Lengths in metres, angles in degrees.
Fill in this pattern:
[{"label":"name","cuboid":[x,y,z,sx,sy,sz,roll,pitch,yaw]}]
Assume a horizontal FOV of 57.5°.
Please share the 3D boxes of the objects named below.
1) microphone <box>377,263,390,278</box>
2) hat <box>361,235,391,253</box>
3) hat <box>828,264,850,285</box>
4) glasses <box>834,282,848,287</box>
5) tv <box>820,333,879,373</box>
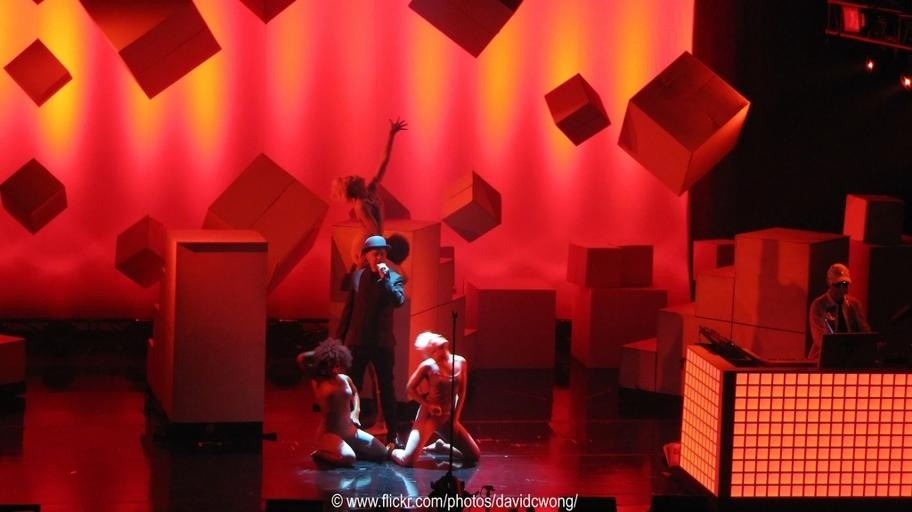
[{"label":"microphone","cuboid":[-0.656,0.106,7.457,0.095,0.163,0.104,-6,-19,11]},{"label":"hat","cuboid":[-0.768,-0.130,7.470,0.160,0.065,0.183,3,-14,-42]},{"label":"hat","cuboid":[3.254,0.146,7.105,0.155,0.129,0.222,-1,-6,4]},{"label":"glasses","cuboid":[3.241,0.225,7.006,0.067,0.051,0.107,1,2,-1]},{"label":"tv","cuboid":[2.997,0.712,6.312,0.414,0.270,0.286,0,4,0]}]
